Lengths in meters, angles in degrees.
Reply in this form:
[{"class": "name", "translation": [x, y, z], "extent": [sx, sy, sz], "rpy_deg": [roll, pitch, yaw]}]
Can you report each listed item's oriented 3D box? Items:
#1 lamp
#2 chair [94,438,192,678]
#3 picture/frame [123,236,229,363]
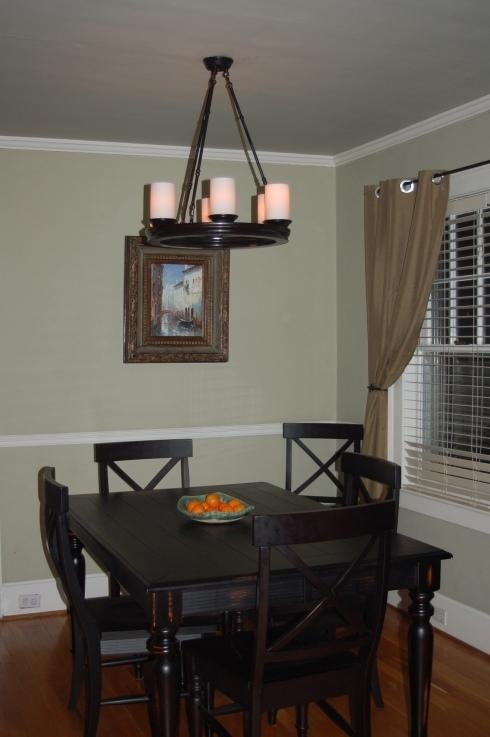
[{"class": "lamp", "translation": [-0.085, -0.782, 2.298], "extent": [0.484, 0.604, 0.496], "rpy_deg": [-9, 18, -20]}, {"class": "chair", "translation": [-0.518, 0.731, 3.515], "extent": [0.526, 0.850, 0.505], "rpy_deg": [-4, 8, -15]}, {"class": "picture/frame", "translation": [-0.430, -0.396, 3.725], "extent": [0.704, 0.843, 0.061], "rpy_deg": [0, 4, -19]}]
